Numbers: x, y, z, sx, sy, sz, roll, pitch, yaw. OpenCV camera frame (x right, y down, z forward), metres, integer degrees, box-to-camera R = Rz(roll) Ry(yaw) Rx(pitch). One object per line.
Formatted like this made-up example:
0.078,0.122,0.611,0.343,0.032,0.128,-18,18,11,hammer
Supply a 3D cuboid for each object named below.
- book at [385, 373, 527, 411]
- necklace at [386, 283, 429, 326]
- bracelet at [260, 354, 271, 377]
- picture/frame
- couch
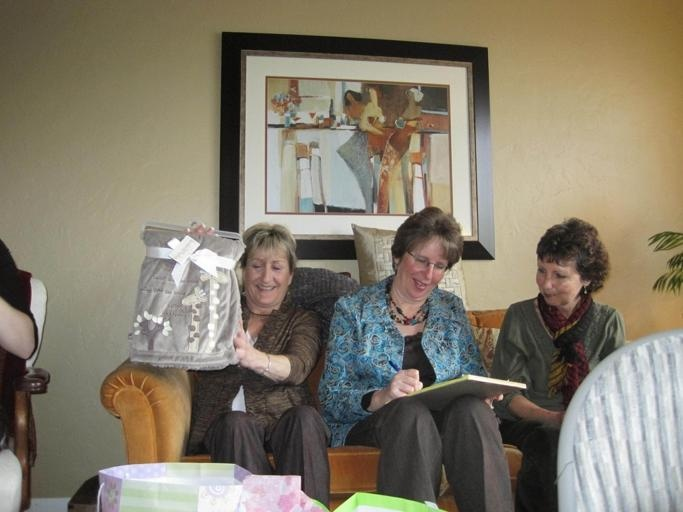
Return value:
0.376,0.467,2.022,0.311,0.033,0.422,16,-31,-42,book
0.258,0.200,2.360,0.110,0.161,0.043,-2,-11,-8,necklace
-0.275,0.408,2.174,0.041,0.061,0.020,2,-2,-34,bracelet
0.021,-0.555,3.092,1.118,1.041,0.051,1,-4,-6,picture/frame
-0.006,0.590,2.445,1.424,0.740,1.193,0,-2,19,couch
